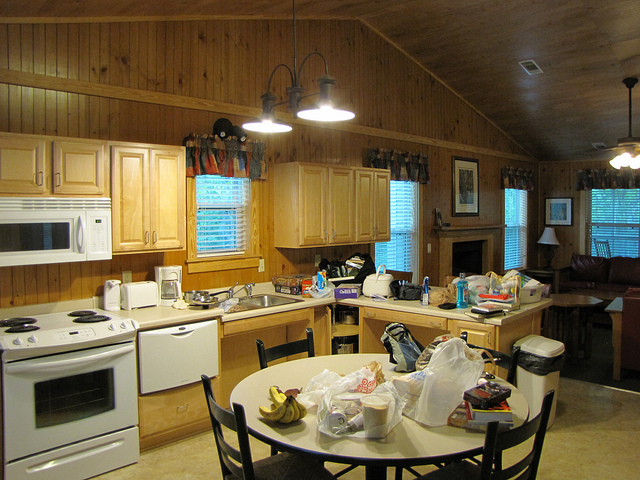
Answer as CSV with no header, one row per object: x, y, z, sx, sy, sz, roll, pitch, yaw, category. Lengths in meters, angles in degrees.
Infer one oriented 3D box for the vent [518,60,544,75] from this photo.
2.796,-2.290,6.822,0.351,0.157,0.183,-14,16,-42,vent

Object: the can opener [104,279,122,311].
-1.806,0.486,4.480,0.141,0.263,0.085,-8,13,-26,can opener

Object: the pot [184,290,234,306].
-1.035,0.523,4.812,0.411,0.141,0.172,3,-5,-26,pot

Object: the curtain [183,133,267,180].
-0.944,-0.835,5.219,0.918,0.495,0.134,-13,16,-40,curtain

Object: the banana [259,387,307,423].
-0.224,0.968,2.978,0.224,0.189,0.324,0,-2,-19,banana

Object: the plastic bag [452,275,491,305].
1.469,0.467,4.796,0.218,0.231,0.207,1,12,16,plastic bag

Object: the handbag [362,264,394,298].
0.601,0.406,5.175,0.288,0.309,0.291,0,0,22,handbag

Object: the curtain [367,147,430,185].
1.092,-0.986,6.917,0.965,0.395,0.150,2,1,-22,curtain

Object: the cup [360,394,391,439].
0.313,0.966,2.849,0.163,0.177,0.181,-1,12,6,cup

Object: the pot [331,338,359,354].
0.268,1.089,5.398,0.221,0.171,0.174,-1,2,9,pot

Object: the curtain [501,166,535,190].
3.566,-1.113,9.287,1.100,0.472,0.094,-13,16,-41,curtain

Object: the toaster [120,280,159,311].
-1.622,0.491,4.641,0.305,0.237,0.207,-3,3,-42,toaster

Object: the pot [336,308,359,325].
0.315,0.813,5.607,0.186,0.145,0.185,0,3,0,pot

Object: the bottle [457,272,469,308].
1.322,0.451,4.737,0.101,0.311,0.228,2,12,18,bottle

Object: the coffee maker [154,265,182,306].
-1.392,0.419,4.770,0.198,0.360,0.233,-1,0,24,coffee maker
